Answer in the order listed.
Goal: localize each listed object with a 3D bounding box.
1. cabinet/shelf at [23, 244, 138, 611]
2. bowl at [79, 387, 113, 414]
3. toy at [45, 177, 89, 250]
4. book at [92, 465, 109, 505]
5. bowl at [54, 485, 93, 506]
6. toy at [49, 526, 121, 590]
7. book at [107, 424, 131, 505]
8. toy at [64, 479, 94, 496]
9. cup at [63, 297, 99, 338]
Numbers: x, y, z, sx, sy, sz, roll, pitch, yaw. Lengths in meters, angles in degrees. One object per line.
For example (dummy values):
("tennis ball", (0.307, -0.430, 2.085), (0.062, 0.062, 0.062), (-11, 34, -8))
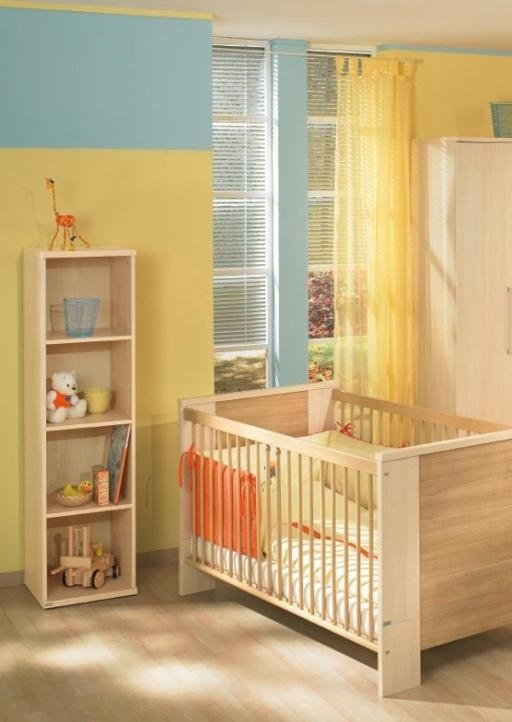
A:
("cabinet/shelf", (-0.661, 0.220, 2.588), (0.446, 1.333, 0.339), (-3, 4, -17))
("bowl", (-0.642, 0.157, 2.662), (0.107, 0.080, 0.104), (1, 4, 0))
("toy", (-0.733, -0.566, 2.572), (0.154, 0.306, 0.226), (-1, -1, -14))
("book", (-0.607, 0.489, 2.587), (0.050, 0.117, 0.126), (-2, 7, -17))
("bowl", (-0.712, 0.516, 2.575), (0.146, 0.081, 0.161), (-1, -1, -11))
("toy", (-0.676, 0.775, 2.721), (0.171, 0.246, 0.330), (3, 9, 24))
("book", (-0.535, 0.415, 2.603), (0.043, 0.389, 0.303), (8, 1, -18))
("toy", (-0.701, 0.501, 2.587), (0.080, 0.040, 0.073), (-3, -2, 4))
("cup", (-0.635, -0.163, 2.464), (0.149, 0.163, 0.140), (1, 4, 0))
